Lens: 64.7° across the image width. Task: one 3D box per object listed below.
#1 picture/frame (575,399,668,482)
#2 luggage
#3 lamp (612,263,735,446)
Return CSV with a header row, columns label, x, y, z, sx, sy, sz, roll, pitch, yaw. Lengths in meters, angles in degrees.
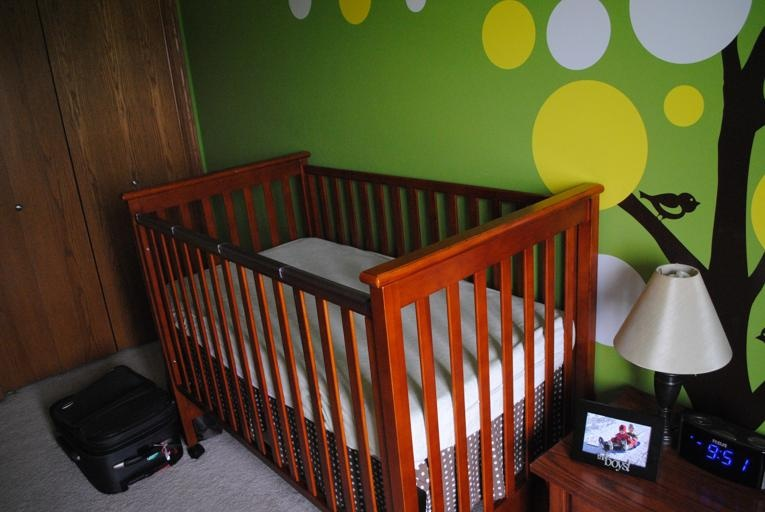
label,x,y,z,sx,sy,sz,roll,pitch,yaw
picture/frame,0.813,0.647,2.071,0.226,0.202,0.019,13,8,22
luggage,-1.300,0.816,2.951,0.556,0.277,0.739,-8,25,-28
lamp,0.973,0.255,2.121,0.392,0.674,0.388,3,26,27
